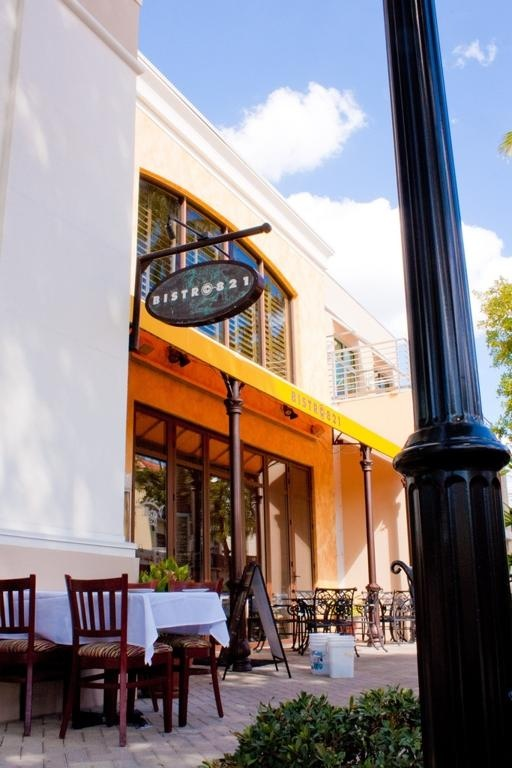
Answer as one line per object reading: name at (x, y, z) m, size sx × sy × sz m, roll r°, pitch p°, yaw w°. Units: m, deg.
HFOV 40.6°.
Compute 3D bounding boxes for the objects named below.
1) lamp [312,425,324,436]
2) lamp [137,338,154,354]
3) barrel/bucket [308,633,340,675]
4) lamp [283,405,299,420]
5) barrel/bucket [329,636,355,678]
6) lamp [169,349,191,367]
lamp at (1.167, 0.894, 13.264) m, size 0.320 × 0.187 × 0.216 m, roll 19°, pitch -22°, yaw -38°
lamp at (-1.278, -0.440, 8.035) m, size 0.189 × 0.217 × 0.050 m, roll 14°, pitch 26°, yaw -12°
barrel/bucket at (0.738, 2.891, 7.417) m, size 0.331 × 0.488 × 0.381 m, roll -13°, pitch -23°, yaw 36°
lamp at (0.602, 0.515, 11.975) m, size 0.205 × 0.070 × 0.268 m, roll -25°, pitch -47°, yaw 26°
barrel/bucket at (0.853, 2.750, 6.957) m, size 0.267 × 0.366 × 0.397 m, roll -4°, pitch -11°, yaw 5°
lamp at (-1.027, -0.341, 9.323) m, size 0.278 × 0.233 × 0.485 m, roll -4°, pitch -12°, yaw 4°
